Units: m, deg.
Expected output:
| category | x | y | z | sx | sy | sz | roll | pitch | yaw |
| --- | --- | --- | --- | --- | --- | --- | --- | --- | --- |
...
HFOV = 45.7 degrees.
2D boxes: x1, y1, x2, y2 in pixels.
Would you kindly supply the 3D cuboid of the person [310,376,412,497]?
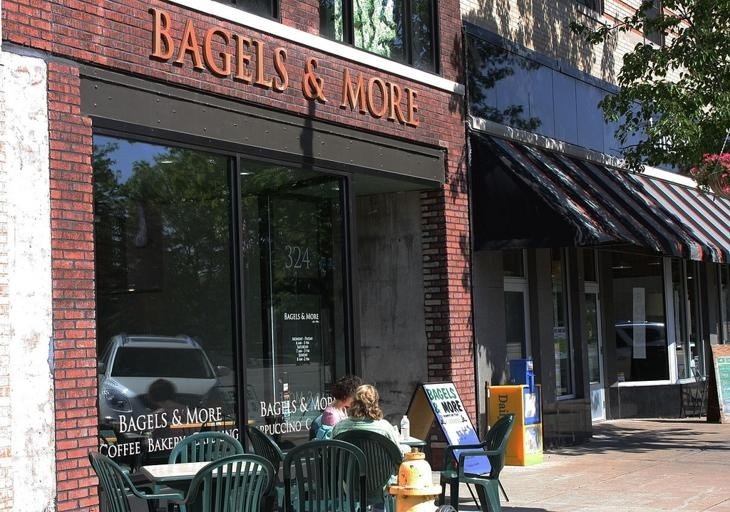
| category | x | y | z | sx | sy | sz | roll | pitch | yaw |
| --- | --- | --- | --- | --- | --- | --- | --- | --- | --- |
| person | -0.063 | 1.814 | 9.601 | 0.821 | 1.439 | 1.132 | 2 | 12 | 9 |
